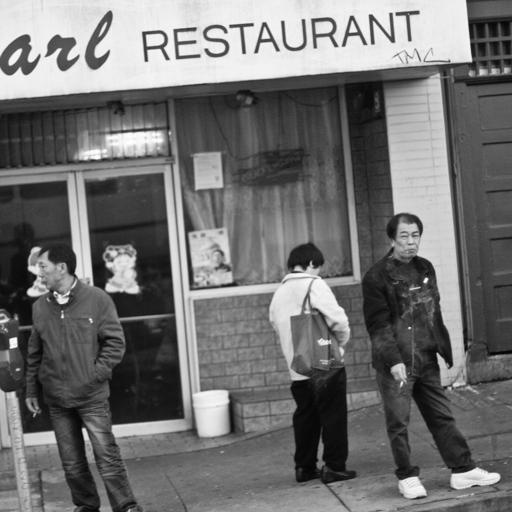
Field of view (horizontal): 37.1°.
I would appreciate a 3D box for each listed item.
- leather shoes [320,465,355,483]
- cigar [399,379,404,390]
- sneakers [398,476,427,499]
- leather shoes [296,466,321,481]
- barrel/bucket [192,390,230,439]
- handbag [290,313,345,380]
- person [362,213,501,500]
[{"bbox_3d":[0.595,1.598,5.602,0.255,0.124,0.103,-3,4,-21],"label":"leather shoes"},{"bbox_3d":[0.974,0.855,5.070,0.042,0.066,0.058,-2,-10,-6],"label":"cigar"},{"bbox_3d":[1.057,1.561,5.155,0.089,0.105,0.232,0,-9,-21],"label":"sneakers"},{"bbox_3d":[0.396,1.646,5.802,0.221,0.104,0.075,-7,11,-37],"label":"leather shoes"},{"bbox_3d":[-0.428,1.522,7.458,0.362,0.397,0.384,-6,-4,0],"label":"barrel/bucket"},{"bbox_3d":[0.446,0.646,5.509,0.219,0.421,0.355,-13,2,33],"label":"handbag"},{"bbox_3d":[1.108,0.661,5.230,0.638,1.441,0.374,-7,2,-18],"label":"person"}]
